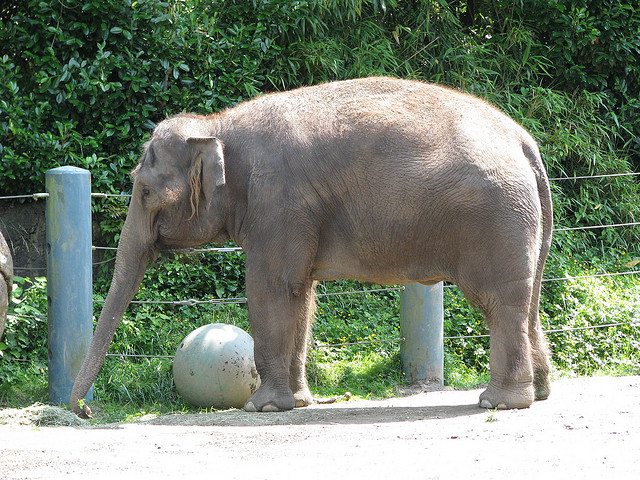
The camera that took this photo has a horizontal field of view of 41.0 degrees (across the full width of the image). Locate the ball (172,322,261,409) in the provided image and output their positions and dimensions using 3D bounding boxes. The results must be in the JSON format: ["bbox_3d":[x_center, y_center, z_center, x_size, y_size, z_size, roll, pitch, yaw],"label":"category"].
[{"bbox_3d":[-0.743,0.900,6.244,0.640,0.711,0.657,-5,1,0],"label":"ball"}]
